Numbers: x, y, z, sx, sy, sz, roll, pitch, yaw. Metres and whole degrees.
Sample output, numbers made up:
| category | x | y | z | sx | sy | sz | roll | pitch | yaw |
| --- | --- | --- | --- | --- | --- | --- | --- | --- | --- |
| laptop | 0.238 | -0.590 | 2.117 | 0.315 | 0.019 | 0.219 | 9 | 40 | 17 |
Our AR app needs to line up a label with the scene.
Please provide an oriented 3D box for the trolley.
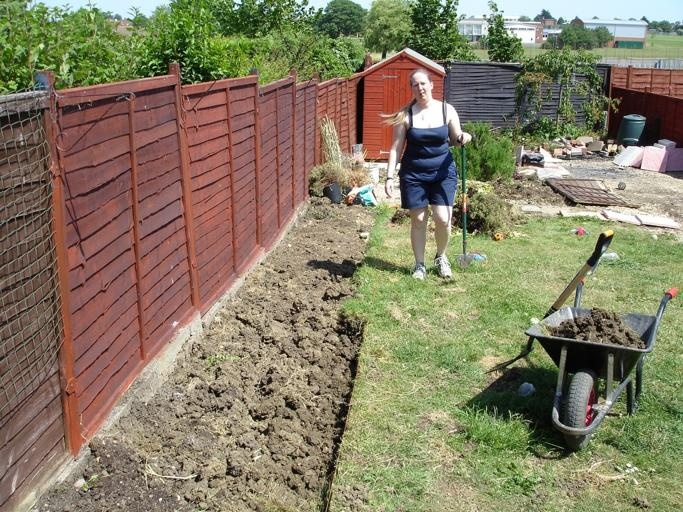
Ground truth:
| category | x | y | z | sx | sy | sz | roll | pitch | yaw |
| --- | --- | --- | --- | --- | --- | --- | --- | --- | --- |
| trolley | 2.056 | 0.754 | 4.394 | 0.761 | 0.858 | 1.654 | 5 | 12 | 28 |

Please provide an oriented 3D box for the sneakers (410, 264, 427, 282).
| category | x | y | z | sx | sy | sz | roll | pitch | yaw |
| --- | --- | --- | --- | --- | --- | --- | --- | --- | --- |
| sneakers | 0.965 | 0.210 | 6.952 | 0.167 | 0.218 | 0.479 | 0 | 4 | 10 |

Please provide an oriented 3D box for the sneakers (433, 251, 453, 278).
| category | x | y | z | sx | sy | sz | roll | pitch | yaw |
| --- | --- | --- | --- | --- | --- | --- | --- | --- | --- |
| sneakers | 1.289 | 0.109 | 7.024 | 0.135 | 0.155 | 0.352 | -5 | 25 | -6 |

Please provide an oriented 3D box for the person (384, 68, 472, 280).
| category | x | y | z | sx | sy | sz | roll | pitch | yaw |
| --- | --- | --- | --- | --- | --- | --- | --- | --- | --- |
| person | 1.017 | -0.955 | 6.749 | 0.929 | 2.482 | 0.686 | 8 | 22 | 12 |

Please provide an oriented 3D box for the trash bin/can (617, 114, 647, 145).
| category | x | y | z | sx | sy | sz | roll | pitch | yaw |
| --- | --- | --- | --- | --- | --- | --- | --- | --- | --- |
| trash bin/can | 9.134 | -3.984 | 17.486 | 0.694 | 0.930 | 0.730 | 14 | 24 | 25 |

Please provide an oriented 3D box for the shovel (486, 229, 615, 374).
| category | x | y | z | sx | sy | sz | roll | pitch | yaw |
| --- | --- | --- | --- | --- | --- | --- | --- | --- | --- |
| shovel | 1.809 | 0.351 | 4.624 | 1.209 | 0.802 | 0.341 | -29 | 43 | -28 |
